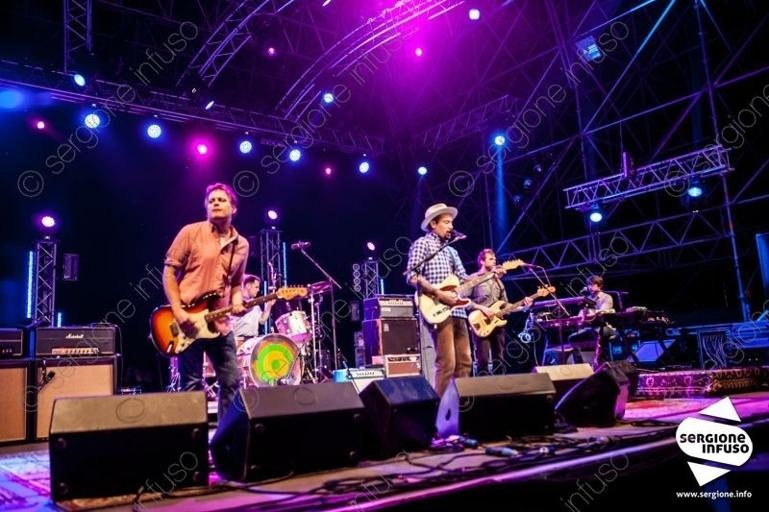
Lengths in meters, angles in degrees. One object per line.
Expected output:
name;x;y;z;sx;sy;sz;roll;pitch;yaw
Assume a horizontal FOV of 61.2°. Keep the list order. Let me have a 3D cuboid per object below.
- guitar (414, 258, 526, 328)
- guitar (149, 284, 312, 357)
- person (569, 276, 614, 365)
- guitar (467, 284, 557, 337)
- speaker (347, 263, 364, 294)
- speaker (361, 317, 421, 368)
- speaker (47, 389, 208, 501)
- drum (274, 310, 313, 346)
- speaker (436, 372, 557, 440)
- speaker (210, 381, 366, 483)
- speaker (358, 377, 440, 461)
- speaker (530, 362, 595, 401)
guitar;1.262;0.546;9.562;1.636;0.540;0.222;-24;-7;-30
guitar;-1.866;0.721;7.256;1.427;0.753;0.631;2;-11;-21
person;3.798;1.230;11.890;0.882;1.580;0.675;4;-49;16
guitar;2.362;1.005;11.755;1.499;0.461;0.208;-22;-10;-36
speaker;-0.717;0.520;15.260;0.307;0.728;0.257;-9;-12;33
speaker;0.104;1.498;11.916;1.050;1.082;0.793;3;-12;-25
speaker;-2.539;1.529;6.598;1.626;1.152;0.946;0;-3;-10
drum;-1.607;1.231;11.644;0.567;0.439;0.563;-14;-4;-1
speaker;1.235;1.668;7.175;1.292;0.712;0.490;-4;-11;10
speaker;-0.944;1.739;6.480;1.237;0.839;1.000;3;-12;-24
speaker;0.146;1.662;7.166;1.032;1.020;0.763;7;-17;-36
speaker;2.267;1.473;8.154;0.721;0.508;0.509;0;-8;-10
